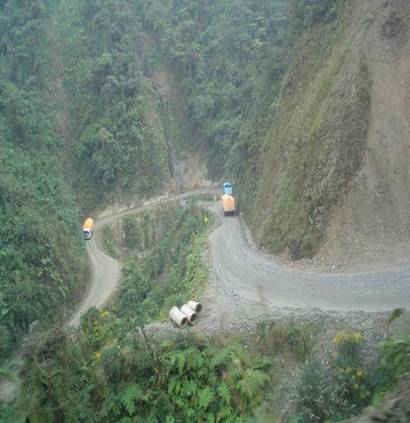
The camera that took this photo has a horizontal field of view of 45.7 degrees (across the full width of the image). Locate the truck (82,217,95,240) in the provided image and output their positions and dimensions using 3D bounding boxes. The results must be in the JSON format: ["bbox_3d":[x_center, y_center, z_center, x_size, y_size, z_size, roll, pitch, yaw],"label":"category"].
[{"bbox_3d":[-17.147,2.344,71.225,0.965,1.878,4.149,0,40,-1],"label":"truck"}]

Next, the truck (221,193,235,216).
[{"bbox_3d":[3.110,-0.759,65.908,1.510,1.831,2.333,-13,32,6],"label":"truck"}]
